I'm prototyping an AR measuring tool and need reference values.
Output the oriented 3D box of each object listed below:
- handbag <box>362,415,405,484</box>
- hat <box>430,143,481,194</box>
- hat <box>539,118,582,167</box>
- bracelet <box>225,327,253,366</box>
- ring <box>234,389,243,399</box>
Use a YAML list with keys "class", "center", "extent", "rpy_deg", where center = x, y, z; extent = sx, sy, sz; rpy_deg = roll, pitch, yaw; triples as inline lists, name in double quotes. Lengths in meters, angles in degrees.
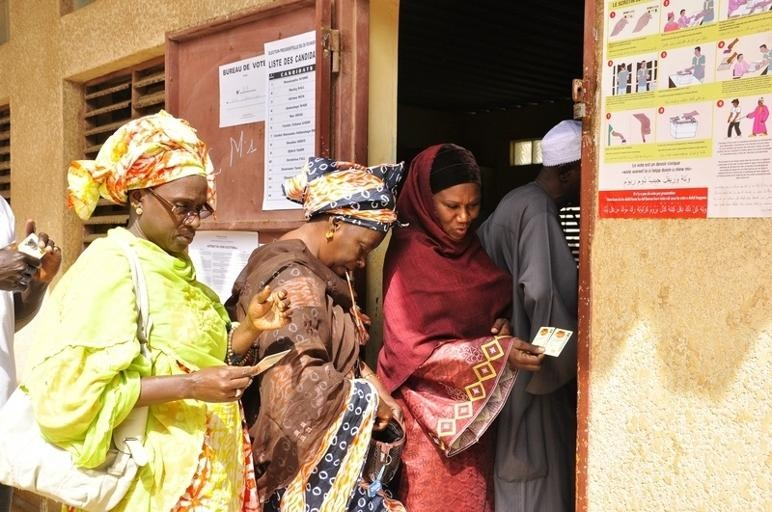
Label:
- class: "handbag"
  center: [-0.039, 0.913, 3.308]
  extent: [0.215, 0.292, 0.291]
  rpy_deg: [9, 13, -1]
- class: "hat"
  center: [0.361, -0.470, 3.718]
  extent: [0.259, 0.263, 0.263]
  rpy_deg: [-2, -8, -21]
- class: "hat"
  center: [0.961, -0.653, 3.846]
  extent: [0.309, 0.206, 0.212]
  rpy_deg: [-22, 33, -38]
- class: "bracelet"
  center: [-0.664, 0.399, 3.081]
  extent: [0.074, 0.163, 0.122]
  rpy_deg: [-5, -1, 13]
- class: "ring"
  center: [-0.574, 0.527, 2.668]
  extent: [0.034, 0.045, 0.013]
  rpy_deg: [6, 5, -15]
